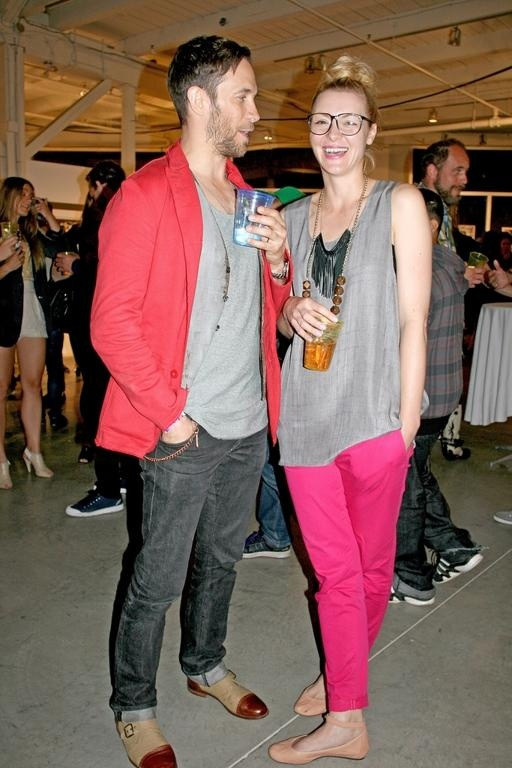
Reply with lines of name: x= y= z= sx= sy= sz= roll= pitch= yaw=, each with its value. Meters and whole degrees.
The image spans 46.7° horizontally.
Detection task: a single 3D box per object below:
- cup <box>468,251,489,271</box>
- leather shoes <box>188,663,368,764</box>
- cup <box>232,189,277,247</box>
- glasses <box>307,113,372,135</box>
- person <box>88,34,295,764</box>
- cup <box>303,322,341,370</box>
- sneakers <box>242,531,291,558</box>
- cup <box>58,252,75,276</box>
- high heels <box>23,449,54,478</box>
cup: x=1.230 y=-0.679 z=3.295 sx=0.081 sy=0.095 sz=0.239 roll=4 pitch=7 yaw=26
leather shoes: x=0.081 y=0.855 z=1.505 sx=0.288 sy=0.091 sz=0.221 roll=9 pitch=7 yaw=18
cup: x=-0.012 y=-0.363 z=1.289 sx=0.078 sy=0.123 sz=0.153 roll=-1 pitch=6 yaw=-19
glasses: x=0.189 y=-0.589 z=1.356 sx=0.141 sy=0.063 sz=0.063 roll=2 pitch=6 yaw=8
person: x=-0.146 y=0.077 z=1.430 sx=0.440 sy=1.717 sz=0.482 roll=1 pitch=6 yaw=2
cup: x=0.142 y=-0.083 z=1.346 sx=0.058 sy=0.114 sz=0.115 roll=-5 pitch=9 yaw=-45
sneakers: x=0.082 y=0.771 z=2.827 sx=0.302 sy=0.125 sz=0.111 roll=6 pitch=-7 yaw=-1
cup: x=-1.190 y=-0.758 z=3.692 sx=0.118 sy=0.136 sz=0.196 roll=-1 pitch=6 yaw=-18
high heels: x=-1.484 y=0.517 z=3.964 sx=0.301 sy=0.189 sz=0.131 roll=5 pitch=7 yaw=35
